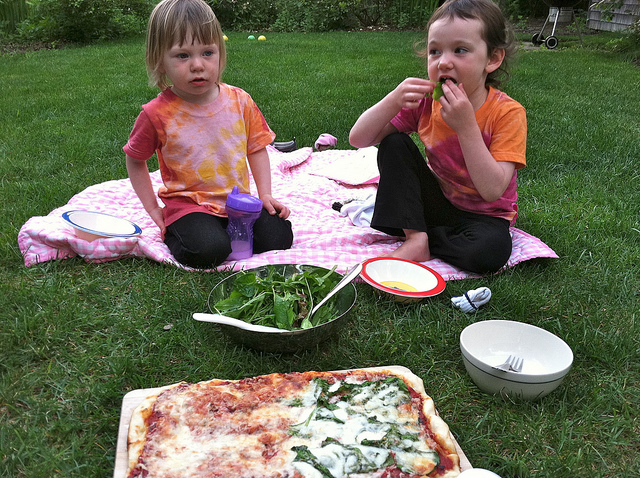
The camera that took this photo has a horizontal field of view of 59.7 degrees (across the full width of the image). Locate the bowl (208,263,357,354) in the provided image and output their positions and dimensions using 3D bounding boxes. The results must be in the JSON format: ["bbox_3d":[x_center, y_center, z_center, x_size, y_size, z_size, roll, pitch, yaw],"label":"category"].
[{"bbox_3d":[-0.206,0.339,2.849,0.667,0.313,0.580,-14,30,-28],"label":"bowl"}]

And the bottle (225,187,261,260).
[{"bbox_3d":[-0.490,-0.097,3.466,0.244,0.436,0.174,-9,29,-18],"label":"bottle"}]

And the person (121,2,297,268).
[{"bbox_3d":[-0.744,-0.704,3.557,0.989,1.484,1.178,-8,28,-16],"label":"person"}]

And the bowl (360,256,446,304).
[{"bbox_3d":[0.479,0.216,3.183,0.320,0.080,0.323,4,26,-2],"label":"bowl"}]

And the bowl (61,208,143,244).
[{"bbox_3d":[-1.407,-0.100,3.512,0.331,0.074,0.313,16,14,-4],"label":"bowl"}]

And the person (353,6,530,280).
[{"bbox_3d":[0.732,-0.590,3.343,0.966,1.481,0.680,9,29,17],"label":"person"}]

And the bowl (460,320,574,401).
[{"bbox_3d":[0.904,0.567,2.635,0.492,0.230,0.339,10,28,19],"label":"bowl"}]
